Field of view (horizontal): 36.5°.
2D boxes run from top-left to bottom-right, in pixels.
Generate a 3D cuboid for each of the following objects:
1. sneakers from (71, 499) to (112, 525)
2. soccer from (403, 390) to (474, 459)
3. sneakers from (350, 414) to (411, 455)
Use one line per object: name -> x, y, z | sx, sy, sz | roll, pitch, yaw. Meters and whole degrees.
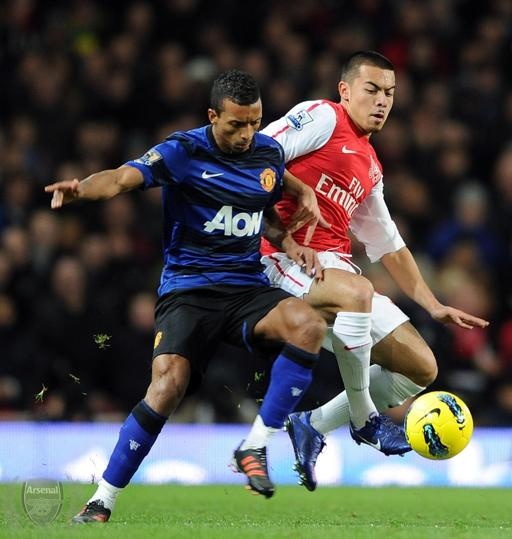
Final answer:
sneakers -> -0.798, 1.178, 3.744 | 0.156, 0.159, 0.151 | 8, 53, 2
soccer -> 0.992, 0.893, 4.456 | 0.453, 0.405, 0.394 | -1, 28, 19
sneakers -> 0.738, 0.974, 4.542 | 0.438, 0.202, 0.146 | 12, 76, 17
